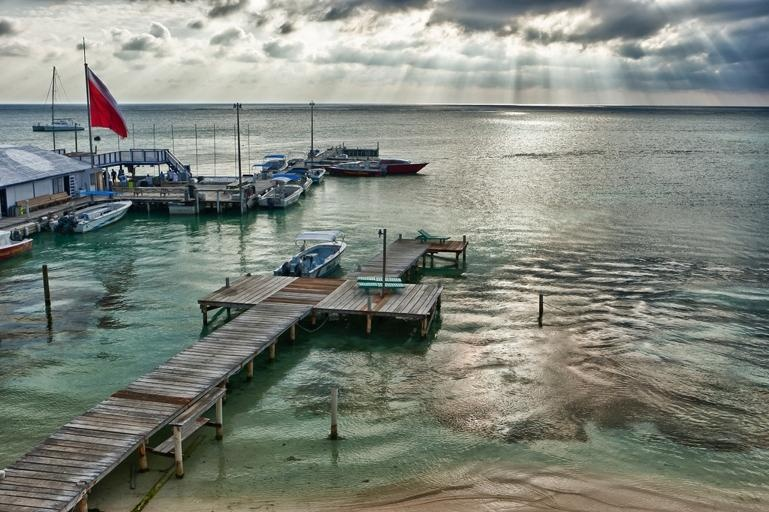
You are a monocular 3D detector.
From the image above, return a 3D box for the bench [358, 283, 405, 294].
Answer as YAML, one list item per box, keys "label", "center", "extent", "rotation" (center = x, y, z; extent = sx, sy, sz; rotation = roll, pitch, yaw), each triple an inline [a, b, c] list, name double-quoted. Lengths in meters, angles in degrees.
- label: "bench"
  center: [-0.245, 2.030, 38.043]
  extent: [2.760, 0.703, 1.084]
  rotation: [-1, 13, 3]

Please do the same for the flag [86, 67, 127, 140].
- label: "flag"
  center: [-29.698, -16.187, 63.055]
  extent: [3.296, 6.730, 7.387]
  rotation: [-10, 16, -21]

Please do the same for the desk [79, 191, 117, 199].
- label: "desk"
  center: [-31.762, -6.820, 66.188]
  extent: [2.858, 1.026, 3.695]
  rotation: [-10, 14, -36]

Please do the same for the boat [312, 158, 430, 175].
- label: "boat"
  center: [-4.686, -13.613, 97.844]
  extent: [25.908, 2.700, 4.432]
  rotation: [-1, 23, -2]
